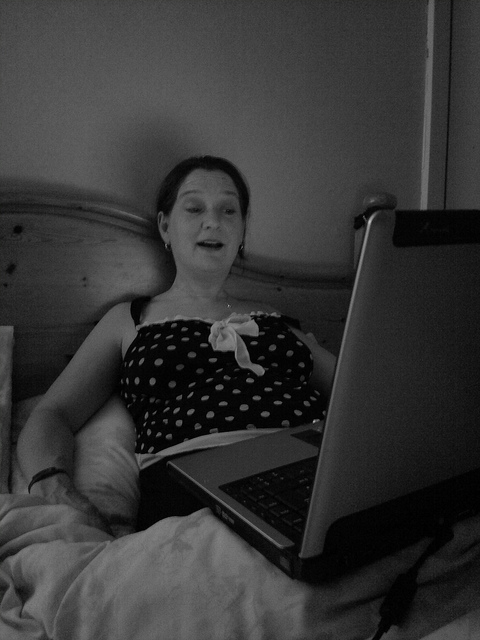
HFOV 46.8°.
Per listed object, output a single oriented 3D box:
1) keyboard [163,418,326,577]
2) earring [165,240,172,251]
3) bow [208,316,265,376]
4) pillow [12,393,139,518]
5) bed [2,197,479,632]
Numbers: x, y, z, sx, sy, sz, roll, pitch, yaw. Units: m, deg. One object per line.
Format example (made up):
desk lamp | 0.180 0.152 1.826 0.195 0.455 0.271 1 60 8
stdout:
keyboard | 0.039 0.211 0.714 0.225 0.033 0.261 29 13 15
earring | -0.188 -0.198 1.465 0.013 0.023 0.007 -1 16 6
bow | -0.019 0.052 1.291 0.125 0.045 0.222 0 24 -2
pillow | -0.284 0.284 1.164 0.184 0.075 0.256 -4 33 -30
bed | -0.070 0.129 0.857 0.476 0.352 0.468 28 14 34
